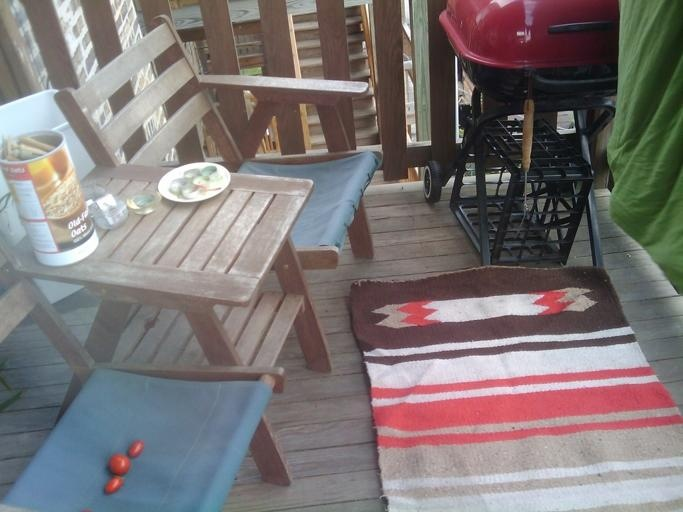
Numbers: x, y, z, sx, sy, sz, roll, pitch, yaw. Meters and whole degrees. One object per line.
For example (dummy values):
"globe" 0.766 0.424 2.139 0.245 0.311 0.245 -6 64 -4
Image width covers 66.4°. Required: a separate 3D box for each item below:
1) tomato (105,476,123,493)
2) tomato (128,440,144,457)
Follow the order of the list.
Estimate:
"tomato" -0.472 0.472 1.085 0.011 0.023 0.035 -22 24 53
"tomato" -0.451 0.420 1.141 0.033 0.022 0.031 -9 36 -4
